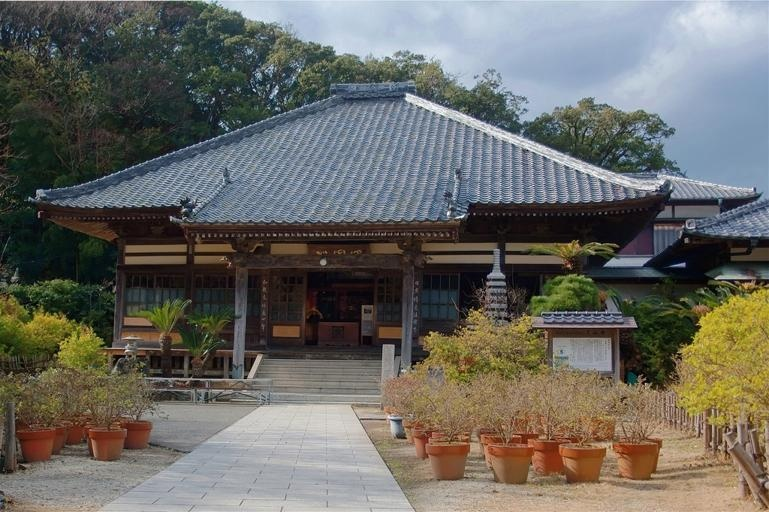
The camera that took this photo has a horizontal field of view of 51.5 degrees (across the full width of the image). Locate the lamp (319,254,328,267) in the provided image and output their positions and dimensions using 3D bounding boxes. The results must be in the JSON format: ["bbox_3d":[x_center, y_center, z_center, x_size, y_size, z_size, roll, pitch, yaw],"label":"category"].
[{"bbox_3d":[-1.856,0.173,24.420,0.251,0.350,0.110,0,10,-4],"label":"lamp"}]
